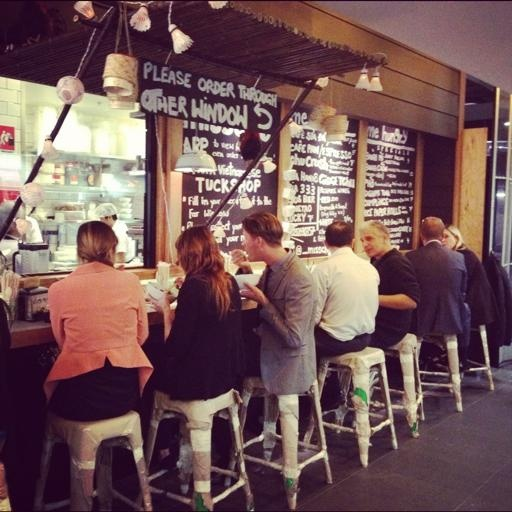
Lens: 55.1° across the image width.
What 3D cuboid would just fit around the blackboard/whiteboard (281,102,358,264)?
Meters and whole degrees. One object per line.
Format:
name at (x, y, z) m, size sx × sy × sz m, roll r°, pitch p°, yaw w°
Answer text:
blackboard/whiteboard at (0.527, -0.662, 4.351) m, size 0.009 × 1.675 × 1.359 m, roll 3°, pitch 5°, yaw 34°

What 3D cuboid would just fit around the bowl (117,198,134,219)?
bowl at (-1.382, -0.506, 5.307) m, size 0.187 × 0.265 × 0.210 m, roll -2°, pitch -7°, yaw -8°

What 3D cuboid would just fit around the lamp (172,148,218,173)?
lamp at (-0.452, -0.694, 3.554) m, size 0.273 × 0.158 × 0.439 m, roll 1°, pitch 2°, yaw -11°

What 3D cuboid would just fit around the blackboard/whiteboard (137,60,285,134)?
blackboard/whiteboard at (-0.242, -0.879, 2.799) m, size 0.970 × 0.262 × 0.009 m, roll -4°, pitch 11°, yaw -42°

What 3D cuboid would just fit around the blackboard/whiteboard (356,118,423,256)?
blackboard/whiteboard at (1.450, -0.809, 5.434) m, size 0.016 × 1.796 × 1.456 m, roll 2°, pitch 0°, yaw 34°

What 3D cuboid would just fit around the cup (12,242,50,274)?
cup at (-1.246, 0.008, 2.727) m, size 0.124 × 0.216 × 0.196 m, roll 8°, pitch 9°, yaw 40°

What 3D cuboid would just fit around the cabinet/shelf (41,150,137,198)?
cabinet/shelf at (-1.795, -0.866, 5.303) m, size 1.041 × 0.431 × 0.426 m, roll 0°, pitch 2°, yaw -26°

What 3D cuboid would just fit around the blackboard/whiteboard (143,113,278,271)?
blackboard/whiteboard at (-0.360, -0.458, 3.387) m, size 1.139 × 1.511 × 0.096 m, roll -1°, pitch 5°, yaw -37°

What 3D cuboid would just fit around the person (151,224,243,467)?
person at (-0.250, 0.261, 2.243) m, size 0.404 × 0.800 × 0.225 m, roll 1°, pitch 2°, yaw -13°

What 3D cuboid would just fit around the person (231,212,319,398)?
person at (0.112, 0.253, 2.497) m, size 0.385 × 0.939 × 0.340 m, roll 1°, pitch 2°, yaw 10°
